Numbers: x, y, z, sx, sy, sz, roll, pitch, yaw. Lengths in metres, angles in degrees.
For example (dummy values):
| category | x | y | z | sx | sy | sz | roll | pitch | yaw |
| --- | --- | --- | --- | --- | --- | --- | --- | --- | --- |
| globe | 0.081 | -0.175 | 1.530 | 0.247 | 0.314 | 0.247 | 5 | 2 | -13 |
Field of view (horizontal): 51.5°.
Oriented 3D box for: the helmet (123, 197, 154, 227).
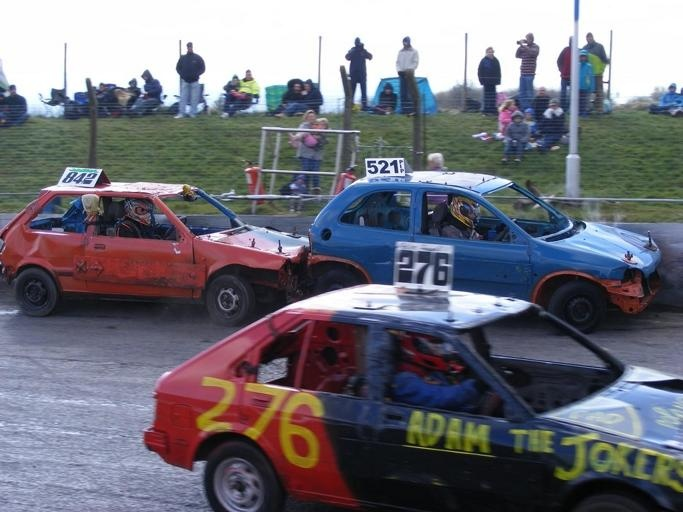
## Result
| category | x | y | z | sx | sy | sz | roll | pitch | yaw |
| --- | --- | --- | --- | --- | --- | --- | --- | --- | --- |
| helmet | -2.753 | -0.607 | 9.761 | 0.532 | 0.313 | 0.345 | 5 | 10 | -4 |

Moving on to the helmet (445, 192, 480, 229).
| category | x | y | z | sx | sy | sz | roll | pitch | yaw |
| --- | --- | --- | --- | --- | --- | --- | --- | --- | --- |
| helmet | 1.499 | -0.552 | 8.773 | 0.549 | 0.368 | 0.360 | 8 | 10 | 0 |
